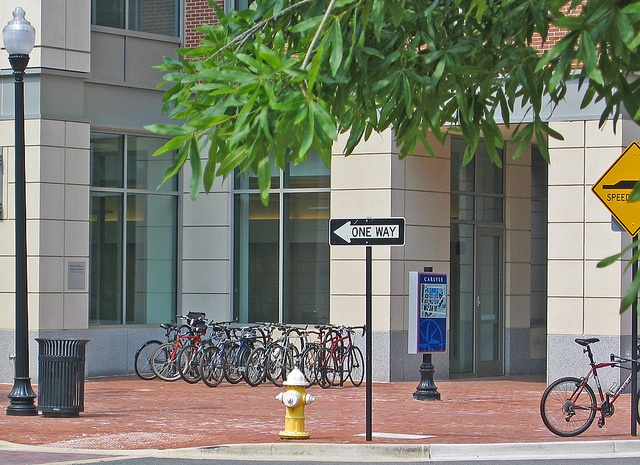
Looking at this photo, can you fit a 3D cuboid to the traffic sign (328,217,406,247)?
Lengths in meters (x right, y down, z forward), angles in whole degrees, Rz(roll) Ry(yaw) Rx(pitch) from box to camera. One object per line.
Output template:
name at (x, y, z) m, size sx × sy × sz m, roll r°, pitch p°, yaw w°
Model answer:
traffic sign at (0.691, -0.009, 21.458) m, size 1.084 × 0.440 × 0.255 m, roll -4°, pitch -7°, yaw 18°

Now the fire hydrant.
fire hydrant at (-0.397, 2.486, 21.406) m, size 0.625 × 0.901 × 0.616 m, roll 3°, pitch -1°, yaw -6°

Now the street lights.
street lights at (-4.785, -0.303, 23.573) m, size 0.796 × 5.680 × 0.918 m, roll 1°, pitch -1°, yaw -35°

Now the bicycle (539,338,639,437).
bicycle at (4.289, 2.382, 22.895) m, size 1.332 × 1.510 × 2.936 m, roll -4°, pitch -8°, yaw 20°
